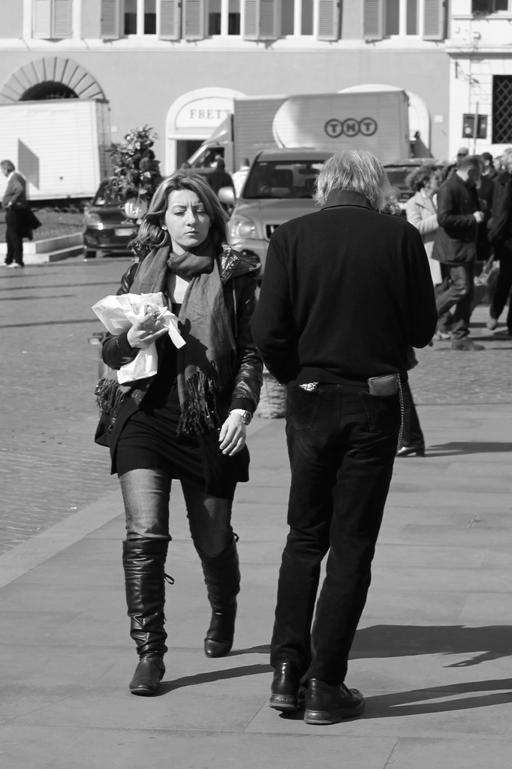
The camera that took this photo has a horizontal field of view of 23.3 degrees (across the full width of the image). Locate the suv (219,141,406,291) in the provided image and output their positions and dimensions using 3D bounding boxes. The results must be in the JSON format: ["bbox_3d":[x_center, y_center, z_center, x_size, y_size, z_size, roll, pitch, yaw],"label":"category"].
[{"bbox_3d":[0.357,-2.341,16.305,1.688,1.322,2.678,0,6,3],"label":"suv"}]

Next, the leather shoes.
[{"bbox_3d":[0.178,0.860,3.517,0.117,0.136,0.316,-1,0,20],"label":"leather shoes"}]

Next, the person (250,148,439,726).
[{"bbox_3d":[0.250,0.141,3.447,0.494,1.546,0.360,-1,8,-3],"label":"person"}]

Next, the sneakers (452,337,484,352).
[{"bbox_3d":[2.018,-0.379,11.769,0.325,0.189,0.115,-2,8,-2],"label":"sneakers"}]

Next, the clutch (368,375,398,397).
[{"bbox_3d":[0.333,0.013,3.300,0.071,0.051,0.025,-4,17,-15],"label":"clutch"}]

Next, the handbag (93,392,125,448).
[{"bbox_3d":[-0.428,0.109,3.835,0.056,0.158,0.117,14,-10,-40],"label":"handbag"}]

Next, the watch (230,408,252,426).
[{"bbox_3d":[-0.048,0.100,3.709,0.046,0.033,0.060,5,-11,44],"label":"watch"}]

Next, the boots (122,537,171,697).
[{"bbox_3d":[-0.322,0.668,3.658,0.127,0.477,0.162,-2,8,-6],"label":"boots"}]
